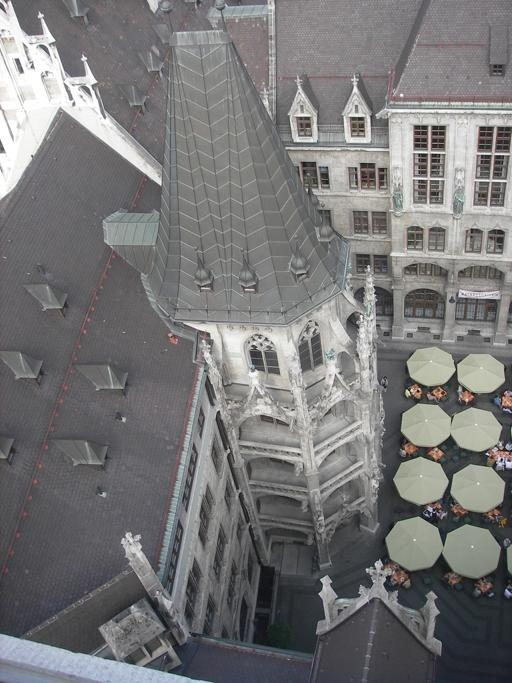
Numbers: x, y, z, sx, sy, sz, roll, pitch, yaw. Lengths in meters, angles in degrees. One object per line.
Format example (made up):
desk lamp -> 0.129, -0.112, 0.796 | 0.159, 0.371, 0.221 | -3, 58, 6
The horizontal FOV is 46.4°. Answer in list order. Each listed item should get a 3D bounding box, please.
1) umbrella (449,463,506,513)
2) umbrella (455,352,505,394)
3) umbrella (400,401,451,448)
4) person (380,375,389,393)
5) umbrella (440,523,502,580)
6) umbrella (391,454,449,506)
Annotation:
umbrella -> 20.664, 13.642, 55.530 | 4.891, 3.879, 2.962 | 0, 9, 19
umbrella -> 23.299, 3.578, 62.107 | 4.451, 3.108, 3.546 | -1, 24, 16
umbrella -> 16.909, 8.858, 59.341 | 4.480, 3.575, 3.482 | -3, 23, 10
person -> 13.931, 4.564, 64.726 | 0.826, 1.191, 1.558 | -1, 23, 15
umbrella -> 18.995, 18.298, 51.777 | 4.463, 4.195, 3.163 | -4, 3, 24
umbrella -> 15.406, 13.668, 55.900 | 4.325, 3.795, 3.245 | -5, 23, 6
